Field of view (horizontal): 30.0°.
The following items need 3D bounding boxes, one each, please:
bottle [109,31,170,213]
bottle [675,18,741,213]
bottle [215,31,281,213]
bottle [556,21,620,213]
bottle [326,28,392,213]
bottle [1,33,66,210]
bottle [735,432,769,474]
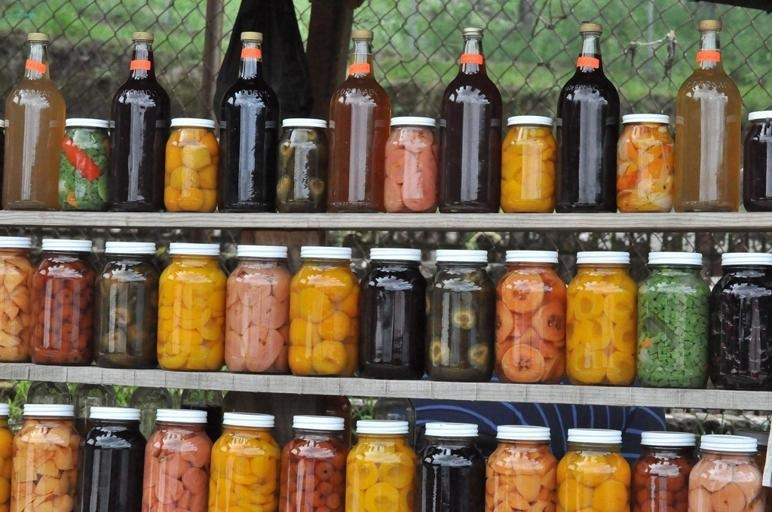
[{"bbox_3d":[-0.906,-0.488,5.289,0.234,0.656,0.147,-2,3,-7],"label":"bottle"},{"bbox_3d":[1.133,-0.493,5.103,0.231,0.678,0.134,-1,3,11],"label":"bottle"},{"bbox_3d":[-0.496,-0.483,5.228,0.207,0.654,0.087,-2,3,-5],"label":"bottle"},{"bbox_3d":[0.712,-0.487,5.117,0.216,0.663,0.071,-1,3,8],"label":"bottle"},{"bbox_3d":[-0.101,-0.481,5.208,0.238,0.652,0.142,-2,3,-5],"label":"bottle"},{"bbox_3d":[-1.310,-0.497,5.347,0.248,0.655,0.141,-2,3,-9],"label":"bottle"},{"bbox_3d":[1.313,0.719,5.182,0.120,0.125,0.121,-1,-5,21],"label":"bottle"}]
